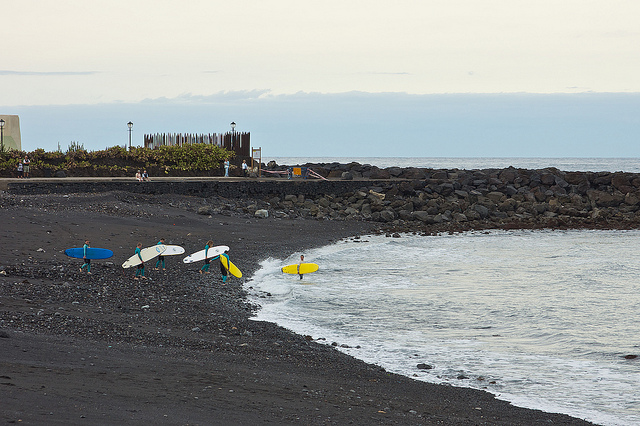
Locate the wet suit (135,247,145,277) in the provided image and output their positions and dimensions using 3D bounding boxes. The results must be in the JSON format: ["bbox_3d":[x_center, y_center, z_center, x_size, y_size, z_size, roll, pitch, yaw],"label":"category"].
[{"bbox_3d":[-7.723,2.035,55.790,0.434,1.259,0.685,4,14,-7],"label":"wet suit"}]

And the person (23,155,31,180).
[{"bbox_3d":[-16.621,-2.643,73.805,0.425,1.103,1.463,3,13,-12],"label":"person"}]

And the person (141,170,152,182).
[{"bbox_3d":[-9.902,-2.090,74.042,0.567,0.553,1.047,-1,12,-6],"label":"person"}]

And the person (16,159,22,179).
[{"bbox_3d":[-17.001,-2.501,73.663,0.317,0.802,1.412,2,13,-15],"label":"person"}]

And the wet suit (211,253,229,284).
[{"bbox_3d":[-4.396,2.221,57.065,0.618,1.172,1.954,3,13,-12],"label":"wet suit"}]

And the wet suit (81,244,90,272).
[{"bbox_3d":[-9.996,1.850,55.573,0.345,1.111,0.569,3,14,-11],"label":"wet suit"}]

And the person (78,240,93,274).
[{"bbox_3d":[-9.973,1.837,55.632,0.568,1.268,1.032,3,14,-10],"label":"person"}]

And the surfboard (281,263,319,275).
[{"bbox_3d":[-0.969,2.505,58.618,1.600,0.650,0.716,4,13,-1],"label":"surfboard"}]

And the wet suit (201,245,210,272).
[{"bbox_3d":[-5.044,1.926,57.182,0.331,1.258,0.489,5,14,-4],"label":"wet suit"}]
